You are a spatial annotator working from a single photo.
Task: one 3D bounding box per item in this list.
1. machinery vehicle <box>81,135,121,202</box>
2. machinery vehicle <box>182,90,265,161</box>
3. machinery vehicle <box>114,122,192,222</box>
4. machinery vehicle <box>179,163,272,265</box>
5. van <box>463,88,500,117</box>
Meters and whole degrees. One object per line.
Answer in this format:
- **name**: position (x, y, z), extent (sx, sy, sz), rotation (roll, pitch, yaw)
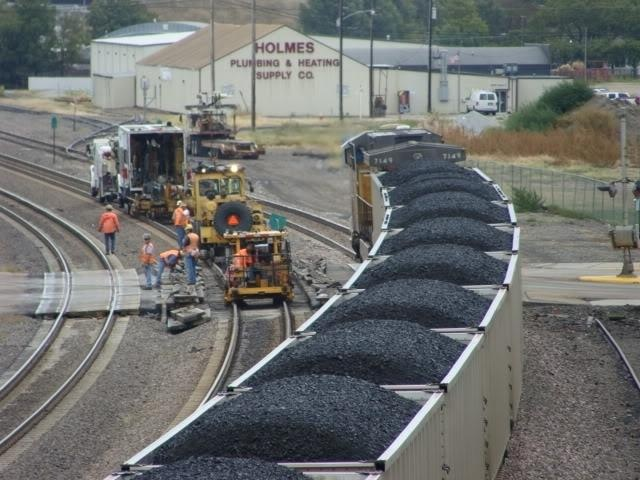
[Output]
- **machinery vehicle**: position (-10.675, -3.600, 64.060), extent (1.383, 2.000, 3.776), rotation (0, 20, -6)
- **machinery vehicle**: position (-6.212, -6.572, 78.334), extent (2.976, 4.243, 8.320), rotation (-2, 9, -17)
- **machinery vehicle**: position (-7.825, -3.294, 61.297), extent (2.097, 3.278, 5.729), rotation (-1, 13, -10)
- **machinery vehicle**: position (-3.572, -0.687, 53.841), extent (2.567, 4.303, 3.063), rotation (-2, 14, -17)
- **van**: position (12.386, -10.471, 100.713), extent (2.243, 1.982, 3.988), rotation (-1, 14, -8)
